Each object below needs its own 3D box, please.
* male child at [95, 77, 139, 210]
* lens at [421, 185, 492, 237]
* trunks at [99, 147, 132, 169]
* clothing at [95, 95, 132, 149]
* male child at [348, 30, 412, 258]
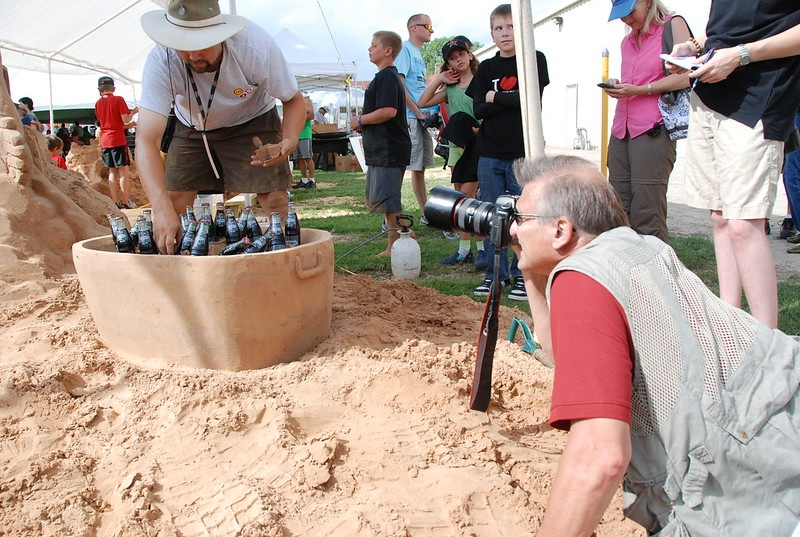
[{"bbox_3d":[-4.864,-2.195,10.002,0.717,2.145,0.681,4,15,11],"label":"male child"},{"bbox_3d":[0.269,-0.262,2.619,0.318,0.149,0.180,17,35,33],"label":"lens"},{"bbox_3d":[-4.832,-1.895,9.769,0.403,0.376,0.259,-8,16,-16],"label":"trunks"},{"bbox_3d":[-4.853,-2.478,9.755,0.601,0.873,0.318,-4,2,16],"label":"clothing"},{"bbox_3d":[-0.230,-1.318,6.138,0.643,2.310,0.793,0,5,2],"label":"male child"}]
